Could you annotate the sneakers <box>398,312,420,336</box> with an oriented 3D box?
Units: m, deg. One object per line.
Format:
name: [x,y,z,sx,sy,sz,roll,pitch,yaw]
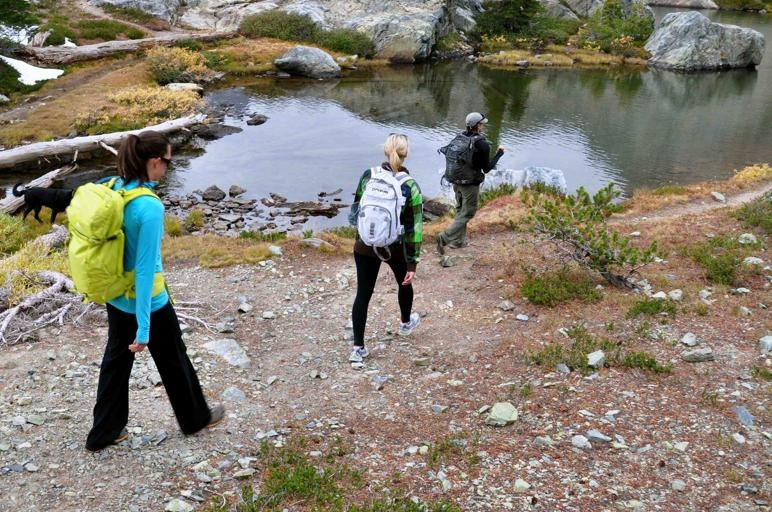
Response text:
sneakers: [0.448,1.360,12.779,0.245,0.241,0.594,11,33,30]

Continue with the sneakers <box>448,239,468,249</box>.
sneakers: [1.808,-0.286,16.261,0.485,0.153,0.208,-2,-5,-4]

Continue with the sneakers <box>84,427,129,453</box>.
sneakers: [-4.342,2.886,10.115,0.249,0.263,0.652,7,9,40]

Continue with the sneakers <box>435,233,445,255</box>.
sneakers: [1.348,-0.271,15.805,0.253,0.476,0.187,-4,2,-6]

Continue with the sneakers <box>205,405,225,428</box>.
sneakers: [-2.788,2.611,10.639,0.168,0.167,0.391,6,27,6]

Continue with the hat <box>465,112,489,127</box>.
hat: [2.094,-3.150,15.132,0.377,0.308,0.381,4,28,13]
